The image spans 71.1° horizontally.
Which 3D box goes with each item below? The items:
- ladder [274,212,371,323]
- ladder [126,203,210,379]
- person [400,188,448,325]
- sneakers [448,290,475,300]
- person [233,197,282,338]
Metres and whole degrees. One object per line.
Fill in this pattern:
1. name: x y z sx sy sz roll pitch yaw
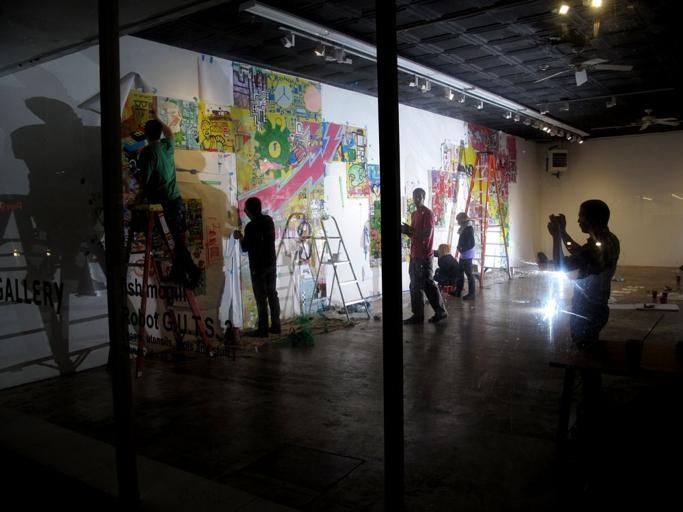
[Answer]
1. ladder: -0.531 0.084 8.386 1.641 2.460 1.366 -1 4 39
2. ladder: -1.833 0.315 5.097 0.769 1.816 0.709 -4 5 -26
3. person: 1.202 0.019 7.031 0.617 1.993 0.651 -1 5 11
4. sneakers: 2.177 0.723 8.654 0.468 0.213 0.148 -18 -10 34
5. person: -1.107 0.162 6.416 0.482 1.854 0.249 -2 5 -6
